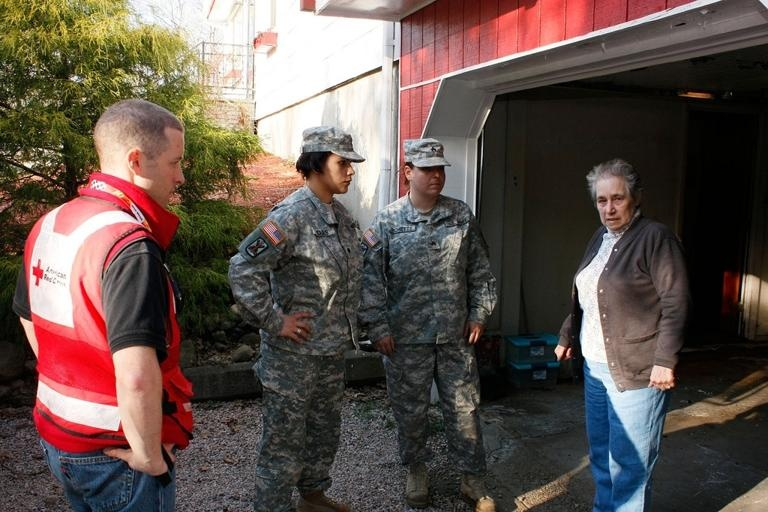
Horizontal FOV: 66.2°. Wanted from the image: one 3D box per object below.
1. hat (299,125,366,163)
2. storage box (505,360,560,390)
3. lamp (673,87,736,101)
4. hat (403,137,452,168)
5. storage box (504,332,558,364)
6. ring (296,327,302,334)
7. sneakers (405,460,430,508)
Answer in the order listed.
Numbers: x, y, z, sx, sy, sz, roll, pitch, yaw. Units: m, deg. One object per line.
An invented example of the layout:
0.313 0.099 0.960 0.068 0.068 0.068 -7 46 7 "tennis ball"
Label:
-0.376 -0.776 4.096 0.364 0.191 0.281 1 4 5 "hat"
1.690 1.339 6.675 0.447 0.229 0.320 0 2 -16 "storage box"
4.110 -2.047 7.458 1.011 0.127 0.268 -7 13 -27 "lamp"
0.311 -0.807 4.509 0.234 0.144 0.294 -1 13 -26 "hat"
1.681 1.046 6.659 0.455 0.205 0.307 -1 1 -24 "storage box"
-0.561 0.492 3.845 0.040 0.039 0.010 -2 -8 -12 "ring"
0.253 1.749 4.490 0.194 0.262 0.229 -1 11 1 "sneakers"
